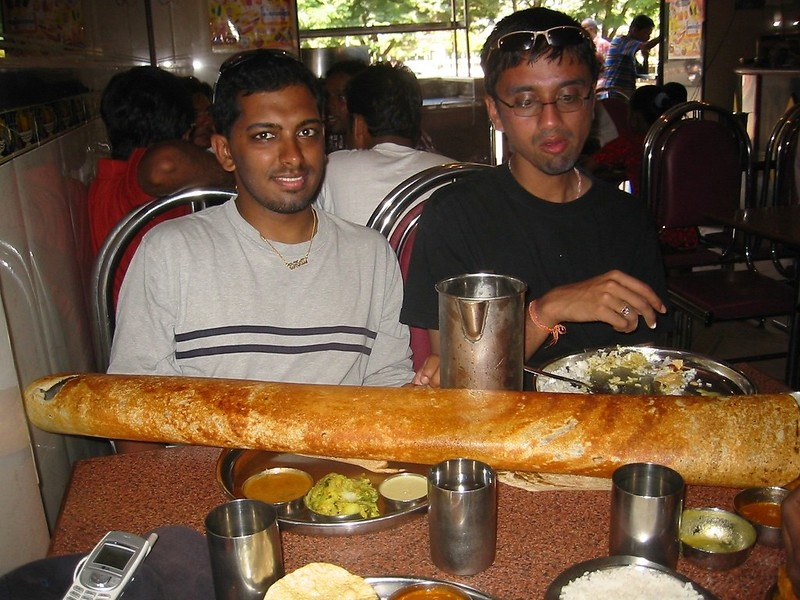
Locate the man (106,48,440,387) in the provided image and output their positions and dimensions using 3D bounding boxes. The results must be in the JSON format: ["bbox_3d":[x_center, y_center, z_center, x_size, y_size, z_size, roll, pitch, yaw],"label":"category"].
[{"bbox_3d":[-0.412,-0.203,1.671,0.829,0.960,0.364,-7,18,-10],"label":"man"}]

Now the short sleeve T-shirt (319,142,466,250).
[{"bbox_3d":[-0.048,-0.391,2.266,0.559,0.420,0.294,20,7,10],"label":"short sleeve T-shirt"}]

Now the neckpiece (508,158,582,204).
[{"bbox_3d":[0.475,-0.372,1.921,0.180,0.041,0.152,11,50,2],"label":"neckpiece"}]

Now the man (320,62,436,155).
[{"bbox_3d":[-0.276,-1.498,4.384,0.745,0.521,0.985,-7,49,-10],"label":"man"}]

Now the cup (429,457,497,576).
[{"bbox_3d":[0.098,0.348,0.941,0.099,0.175,0.090,5,20,28],"label":"cup"}]

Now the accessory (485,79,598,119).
[{"bbox_3d":[0.420,-0.574,1.719,0.264,0.086,0.089,0,18,11],"label":"accessory"}]

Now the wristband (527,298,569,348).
[{"bbox_3d":[0.372,0.055,1.517,0.051,0.117,0.092,-38,-2,-34],"label":"wristband"}]

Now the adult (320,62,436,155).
[{"bbox_3d":[-0.246,-1.419,4.245,0.745,0.521,0.985,-7,49,-10],"label":"adult"}]

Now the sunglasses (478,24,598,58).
[{"bbox_3d":[0.401,-0.743,1.699,0.274,0.067,0.118,-1,17,9],"label":"sunglasses"}]
